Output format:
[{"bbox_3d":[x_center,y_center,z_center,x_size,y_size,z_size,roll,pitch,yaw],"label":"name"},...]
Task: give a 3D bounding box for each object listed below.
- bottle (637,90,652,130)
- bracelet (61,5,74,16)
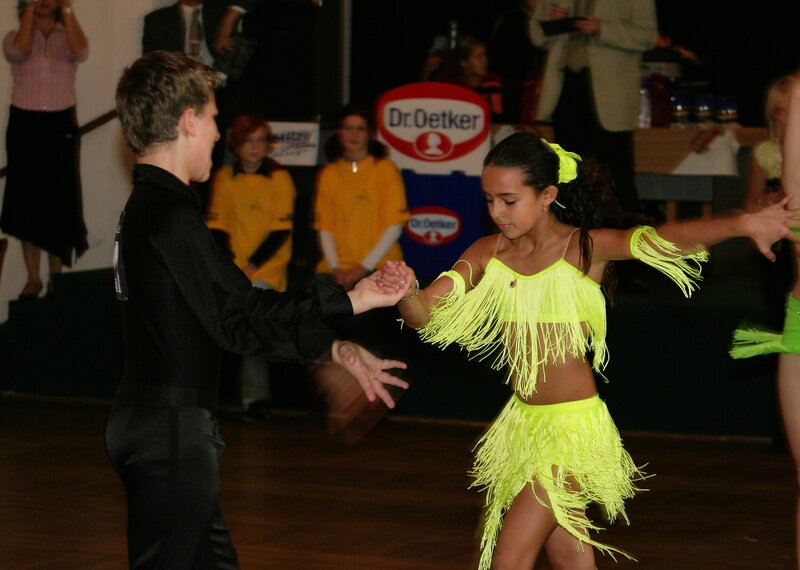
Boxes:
[{"bbox_3d":[1.570,-1.118,5.274,0.093,0.248,0.043,3,10,-4],"label":"bottle"},{"bbox_3d":[-2.506,-2.048,6.190,0.081,0.068,0.045,1,11,-14],"label":"bracelet"}]
